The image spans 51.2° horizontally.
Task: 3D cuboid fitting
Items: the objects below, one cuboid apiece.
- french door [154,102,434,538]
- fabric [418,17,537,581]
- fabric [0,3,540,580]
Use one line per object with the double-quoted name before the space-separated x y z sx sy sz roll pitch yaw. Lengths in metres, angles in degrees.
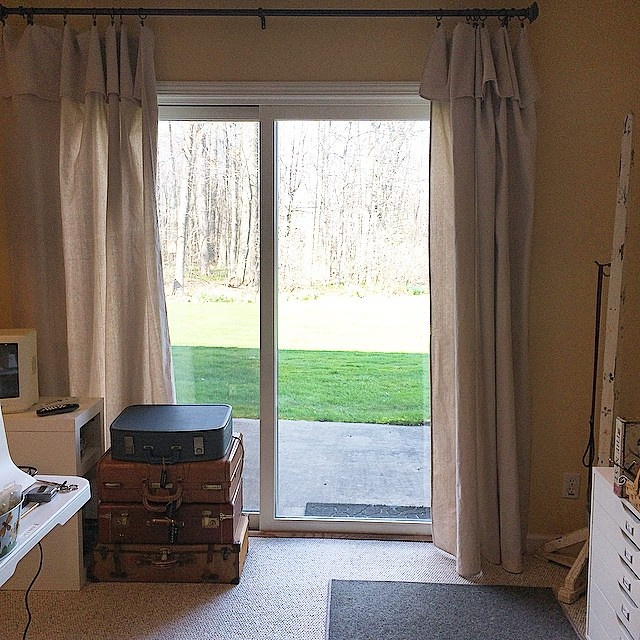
"french door" -0.128 -0.088 3.131 1.477 2.725 0.113 -1 2 0
"fabric" 0.679 -0.107 2.918 0.493 2.403 0.374 1 5 14
"fabric" -0.231 -0.219 2.951 1.857 2.543 0.313 0 5 6
